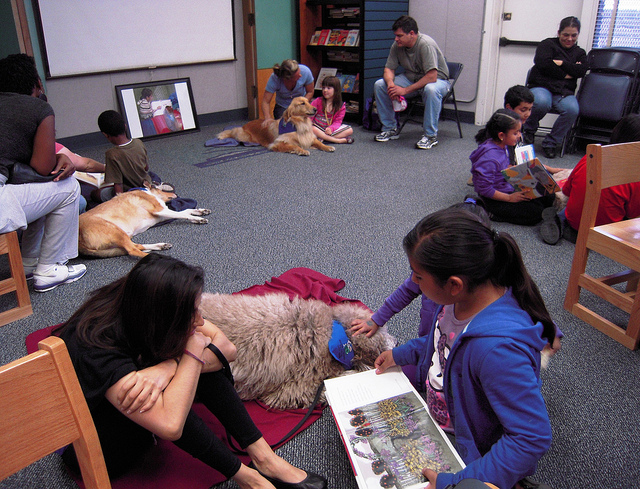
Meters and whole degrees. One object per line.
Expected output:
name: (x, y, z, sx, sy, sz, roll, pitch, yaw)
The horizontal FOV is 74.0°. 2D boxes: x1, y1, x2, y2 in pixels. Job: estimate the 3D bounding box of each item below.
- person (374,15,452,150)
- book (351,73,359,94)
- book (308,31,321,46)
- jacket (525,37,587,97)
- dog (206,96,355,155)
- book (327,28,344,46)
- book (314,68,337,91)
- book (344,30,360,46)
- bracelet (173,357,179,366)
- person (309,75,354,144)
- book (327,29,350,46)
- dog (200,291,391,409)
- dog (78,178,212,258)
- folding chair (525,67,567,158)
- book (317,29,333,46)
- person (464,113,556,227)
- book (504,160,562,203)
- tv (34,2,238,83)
person: (1.122, -2.001, 5.225, 0.935, 1.419, 0.762, 8, 28, 22)
book: (0.535, -2.309, 6.165, 0.111, 0.247, 0.233, -12, 28, -16)
book: (-0.091, -3.090, 6.381, 0.170, 0.187, 0.157, 20, 35, 39)
jacket: (2.628, -1.929, 4.673, 0.498, 0.678, 0.414, 8, 18, -1)
dog: (-0.540, -1.408, 5.294, 1.261, 0.519, 1.022, 17, 33, 28)
book: (0.196, -3.019, 6.203, 0.153, 0.204, 0.207, 16, 33, 35)
book: (0.077, -2.553, 6.566, 0.210, 0.296, 0.409, -26, 34, -38)
book: (0.443, -2.912, 5.996, 0.193, 0.194, 0.166, 6, 28, 19)
bracelet: (-0.470, 0.381, 1.382, 0.017, 0.014, 0.018, -16, 19, -19)
person: (0.090, -1.719, 5.409, 0.611, 0.813, 0.655, -13, 27, -32)
book: (0.261, -2.996, 6.149, 0.294, 0.301, 0.068, 11, -3, 35)
dog: (-0.129, 0.432, 1.926, 0.751, 0.313, 0.518, 12, 24, -7)
dog: (-1.320, -0.191, 3.187, 0.561, 0.333, 0.940, 8, 30, 23)
folding chair: (2.528, -1.378, 4.846, 0.487, 1.128, 0.598, 16, 25, 28)
book: (0.076, -3.055, 6.285, 0.232, 0.336, 0.045, 13, -10, 20)
person: (1.519, -0.649, 3.363, 0.681, 0.844, 0.505, 18, 43, 37)
book: (1.579, -0.487, 3.194, 0.296, 0.301, 0.071, -27, 18, 46)
tv: (-2.169, -2.520, 5.193, 2.262, 0.801, 0.413, -19, 30, -27)
